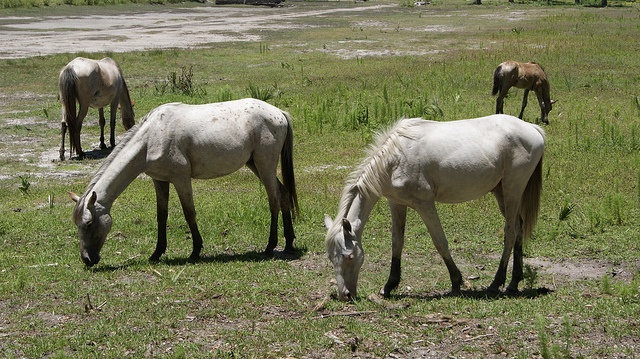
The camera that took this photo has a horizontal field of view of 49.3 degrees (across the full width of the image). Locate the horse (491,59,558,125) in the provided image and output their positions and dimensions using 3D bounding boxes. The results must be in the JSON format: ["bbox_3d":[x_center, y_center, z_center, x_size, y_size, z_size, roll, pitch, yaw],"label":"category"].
[{"bbox_3d":[8.062,-3.472,27.709,3.183,2.306,0.811,3,5,-24],"label":"horse"}]
